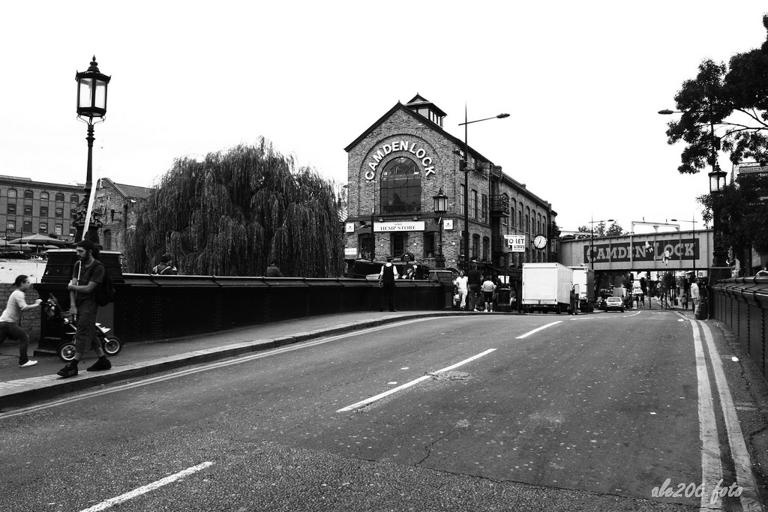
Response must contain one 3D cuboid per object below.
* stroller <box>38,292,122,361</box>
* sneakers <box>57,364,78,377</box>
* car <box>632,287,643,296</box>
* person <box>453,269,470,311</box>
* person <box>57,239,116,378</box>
[{"bbox_3d":[-6.274,1.494,14.877,0.940,1.233,1.858,-12,-14,27],"label":"stroller"},{"bbox_3d":[-5.571,2.037,12.662,0.375,0.191,0.167,7,-13,-31],"label":"sneakers"},{"bbox_3d":[35.212,4.933,99.423,1.228,1.145,1.943,-1,-6,15],"label":"car"},{"bbox_3d":[3.295,1.377,30.281,0.605,1.530,1.893,0,7,6],"label":"person"},{"bbox_3d":[-5.505,0.948,13.219,0.833,2.407,1.419,-2,7,-12],"label":"person"}]
